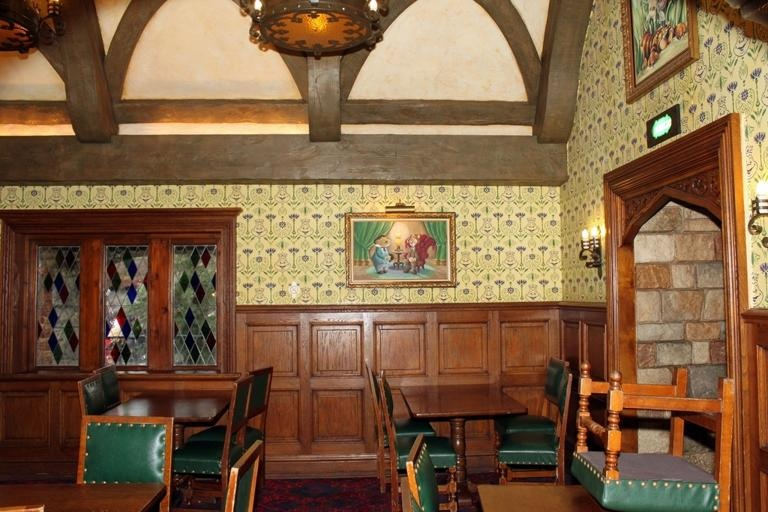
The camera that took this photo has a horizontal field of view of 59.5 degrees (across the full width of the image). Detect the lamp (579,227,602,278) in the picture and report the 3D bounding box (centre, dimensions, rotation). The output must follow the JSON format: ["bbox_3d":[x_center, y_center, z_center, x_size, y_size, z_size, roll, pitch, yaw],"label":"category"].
[{"bbox_3d":[2.325,-0.029,7.683,0.202,0.578,0.394,-2,-5,-1],"label":"lamp"}]
